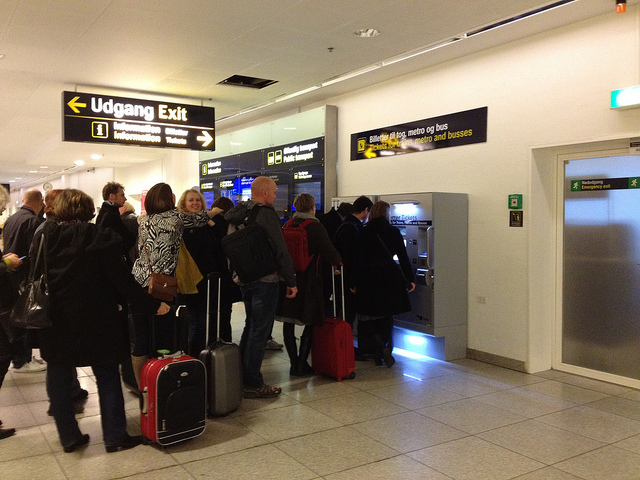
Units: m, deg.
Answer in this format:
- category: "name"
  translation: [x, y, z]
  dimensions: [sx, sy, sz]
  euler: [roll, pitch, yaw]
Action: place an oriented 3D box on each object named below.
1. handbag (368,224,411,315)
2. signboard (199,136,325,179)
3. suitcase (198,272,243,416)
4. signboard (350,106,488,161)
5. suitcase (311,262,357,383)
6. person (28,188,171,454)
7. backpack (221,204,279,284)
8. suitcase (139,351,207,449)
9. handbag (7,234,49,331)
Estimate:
- category: "handbag"
  translation: [0.781, 0.315, 5.417]
  dimensions: [0.450, 0.985, 0.194]
  euler: [1, 5, 3]
- category: "signboard"
  translation: [-1.034, -1.466, 8.673]
  dimensions: [0.053, 0.530, 3.330]
  euler: [-4, 7, -41]
- category: "suitcase"
  translation: [-0.888, 0.870, 4.388]
  dimensions: [0.360, 1.206, 0.856]
  euler: [0, 5, -9]
- category: "signboard"
  translation: [1.231, -1.375, 6.438]
  dimensions: [2.019, 0.427, 0.023]
  euler: [-1, -5, 40]
- category: "suitcase"
  translation: [0.133, 1.121, 5.009]
  dimensions: [0.479, 0.656, 0.296]
  euler: [1, 5, 4]
- category: "person"
  translation: [-1.696, 0.603, 3.528]
  dimensions: [0.869, 1.937, 0.365]
  euler: [1, 5, 12]
- category: "backpack"
  translation: [-0.650, 0.011, 4.584]
  dimensions: [0.439, 0.652, 0.612]
  euler: [-19, 0, 23]
- category: "suitcase"
  translation: [-1.136, 1.217, 3.698]
  dimensions: [0.464, 0.634, 0.370]
  euler: [0, -5, -35]
- category: "handbag"
  translation: [-2.210, 0.364, 3.629]
  dimensions: [0.238, 0.837, 0.894]
  euler: [-3, 6, -34]
